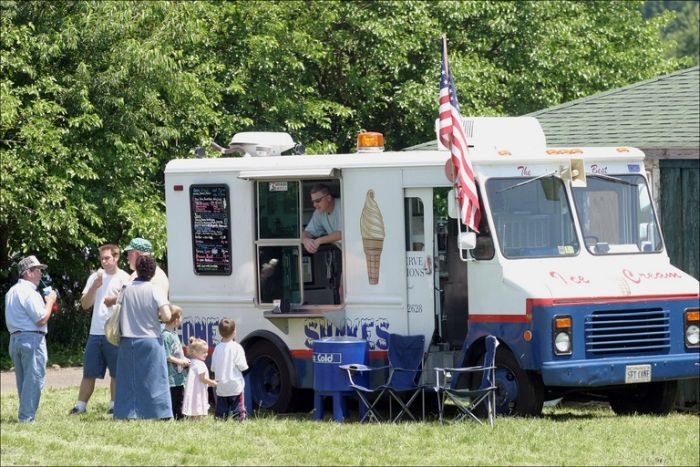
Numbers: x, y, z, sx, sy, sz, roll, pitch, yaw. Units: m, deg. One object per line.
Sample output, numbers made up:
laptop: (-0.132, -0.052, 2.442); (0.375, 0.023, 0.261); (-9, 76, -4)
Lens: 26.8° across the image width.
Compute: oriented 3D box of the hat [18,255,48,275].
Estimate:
hat: (-5.130, 0.526, 24.021); (0.403, 0.224, 0.288); (-16, 6, -10)

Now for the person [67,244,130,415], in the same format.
person: (-4.159, 1.653, 24.555); (1.049, 2.848, 0.827); (1, 1, -5)

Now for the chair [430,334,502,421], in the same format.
chair: (1.872, 2.449, 23.646); (1.102, 1.509, 0.985); (-2, -1, 4)

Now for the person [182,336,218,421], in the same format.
person: (-2.453, 2.384, 24.003); (0.532, 1.302, 0.558); (-2, -3, -12)

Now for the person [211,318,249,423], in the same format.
person: (-1.949, 2.238, 24.012); (0.547, 1.658, 0.308); (-2, -3, -11)

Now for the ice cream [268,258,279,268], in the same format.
ice cream: (-1.260, 0.507, 24.792); (0.122, 0.113, 0.123); (3, 0, -9)

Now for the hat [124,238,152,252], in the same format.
hat: (-3.498, 0.209, 24.545); (0.343, 0.172, 0.251); (6, 2, 14)

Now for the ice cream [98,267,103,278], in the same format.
ice cream: (-4.066, 0.660, 24.223); (0.108, 0.178, 0.112); (0, 2, 1)

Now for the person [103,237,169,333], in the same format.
person: (-3.512, 0.844, 24.374); (0.796, 1.710, 1.031); (1, -2, 0)

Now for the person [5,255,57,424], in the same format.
person: (-5.136, 1.719, 23.898); (0.753, 2.710, 0.571); (-2, -3, -14)

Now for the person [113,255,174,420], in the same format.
person: (-3.308, 1.703, 23.607); (0.861, 2.600, 0.392); (-2, -2, -9)
